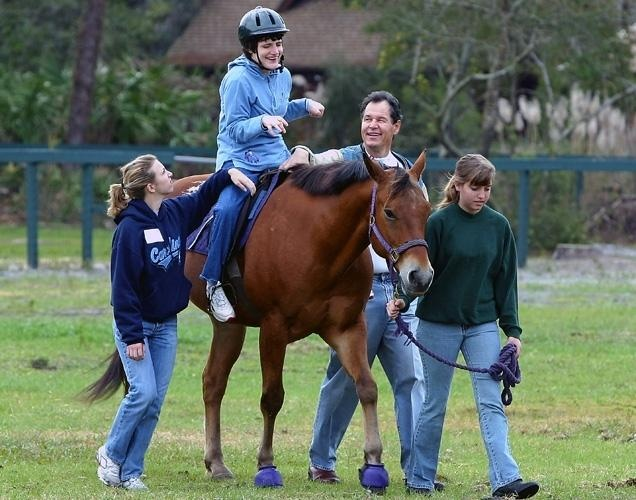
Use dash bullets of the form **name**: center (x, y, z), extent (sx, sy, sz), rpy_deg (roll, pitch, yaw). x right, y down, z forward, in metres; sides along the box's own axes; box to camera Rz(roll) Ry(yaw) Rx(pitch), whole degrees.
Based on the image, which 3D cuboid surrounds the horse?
- **horse**: center (-0.445, 0.801, 16.375), extent (1.308, 3.637, 4.927), rpy_deg (-1, 2, -39)

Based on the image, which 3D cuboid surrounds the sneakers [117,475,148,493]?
- **sneakers**: center (-1.909, 2.447, 15.392), extent (0.310, 0.144, 0.116), rpy_deg (-7, -9, 40)

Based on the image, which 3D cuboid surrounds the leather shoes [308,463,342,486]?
- **leather shoes**: center (0.061, 2.407, 15.741), extent (0.306, 0.141, 0.153), rpy_deg (2, 0, 31)

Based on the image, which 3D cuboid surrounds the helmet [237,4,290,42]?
- **helmet**: center (-0.648, -2.421, 15.855), extent (0.335, 0.281, 0.454), rpy_deg (-3, 0, -26)
